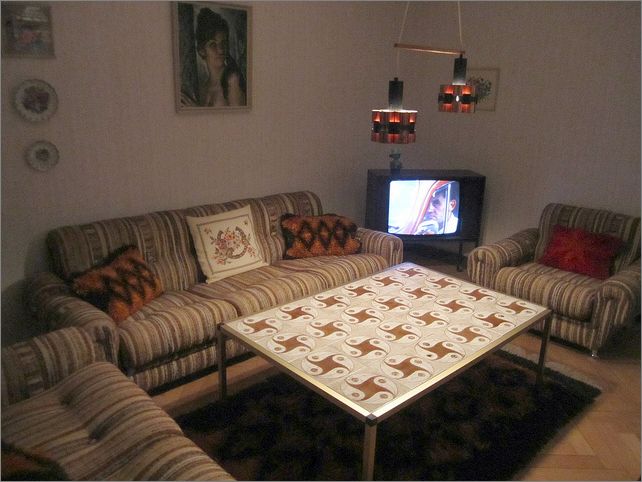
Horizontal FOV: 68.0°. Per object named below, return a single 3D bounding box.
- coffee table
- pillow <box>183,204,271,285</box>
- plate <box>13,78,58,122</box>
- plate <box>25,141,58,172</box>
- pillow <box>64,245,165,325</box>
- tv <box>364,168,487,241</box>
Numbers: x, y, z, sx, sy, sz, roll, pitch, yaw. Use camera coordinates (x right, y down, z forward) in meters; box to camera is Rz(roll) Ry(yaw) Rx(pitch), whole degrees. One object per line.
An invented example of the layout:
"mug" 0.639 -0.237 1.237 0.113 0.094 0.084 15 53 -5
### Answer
"coffee table" 0.323 0.545 2.807 1.615 0.438 1.078 -19 29 -35
"pillow" -0.766 0.042 3.747 0.589 0.469 0.280 -11 21 -38
"plate" -1.927 -0.965 3.245 0.073 0.288 0.296 37 3 17
"plate" -1.925 -0.597 3.309 0.216 0.198 0.049 10 8 2
"pillow" -1.318 0.282 3.155 0.356 0.368 0.515 8 20 23
"tv" 1.028 -0.317 4.858 1.098 0.663 0.520 2 10 -7
